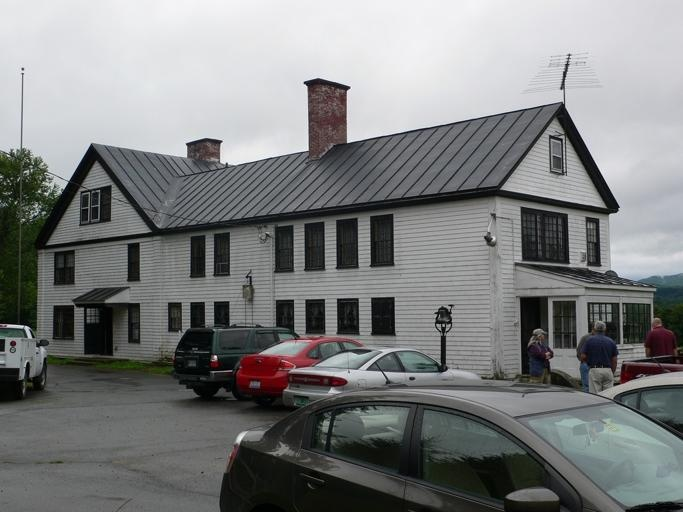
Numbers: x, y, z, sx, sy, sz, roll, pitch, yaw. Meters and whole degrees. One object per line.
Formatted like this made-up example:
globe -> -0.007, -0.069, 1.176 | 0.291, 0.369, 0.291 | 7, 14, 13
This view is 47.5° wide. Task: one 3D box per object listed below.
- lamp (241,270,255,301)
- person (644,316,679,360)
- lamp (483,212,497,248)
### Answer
lamp -> -3.707, 1.212, 30.804 | 0.464, 1.019, 0.615 | -6, -4, -39
person -> 7.145, 1.847, 17.431 | 0.666, 0.910, 0.990 | -9, -3, 20
lamp -> 4.510, -0.794, 23.790 | 0.387, 1.008, 0.485 | -10, -4, 43
